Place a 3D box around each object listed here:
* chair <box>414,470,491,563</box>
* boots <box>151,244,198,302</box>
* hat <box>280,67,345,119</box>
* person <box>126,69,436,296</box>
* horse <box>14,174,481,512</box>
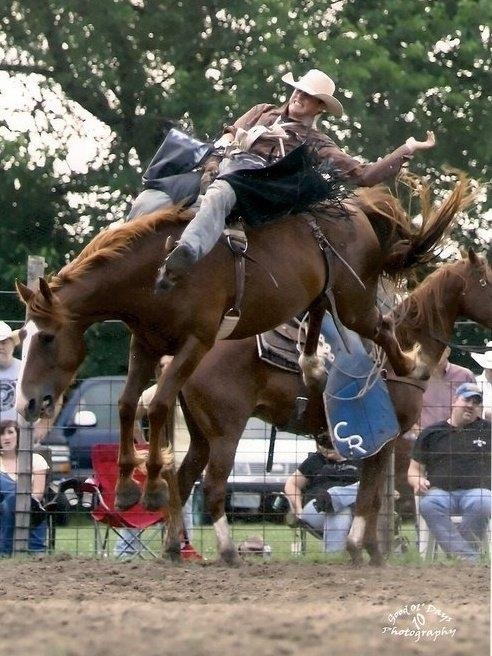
[{"bbox_3d":[1.537,1.409,7.279,0.647,0.617,0.463,1,-33,5],"label":"chair"},{"bbox_3d":[-0.333,-0.249,4.668,0.324,0.167,0.094,-33,-72,21],"label":"boots"},{"bbox_3d":[0.422,-1.269,5.511,0.314,0.114,0.313,24,-8,26],"label":"hat"},{"bbox_3d":[0.206,-0.666,5.045,1.471,0.475,1.187,18,27,14],"label":"person"},{"bbox_3d":[-0.038,-0.007,5.243,2.201,1.881,0.806,9,-12,-42],"label":"horse"}]
